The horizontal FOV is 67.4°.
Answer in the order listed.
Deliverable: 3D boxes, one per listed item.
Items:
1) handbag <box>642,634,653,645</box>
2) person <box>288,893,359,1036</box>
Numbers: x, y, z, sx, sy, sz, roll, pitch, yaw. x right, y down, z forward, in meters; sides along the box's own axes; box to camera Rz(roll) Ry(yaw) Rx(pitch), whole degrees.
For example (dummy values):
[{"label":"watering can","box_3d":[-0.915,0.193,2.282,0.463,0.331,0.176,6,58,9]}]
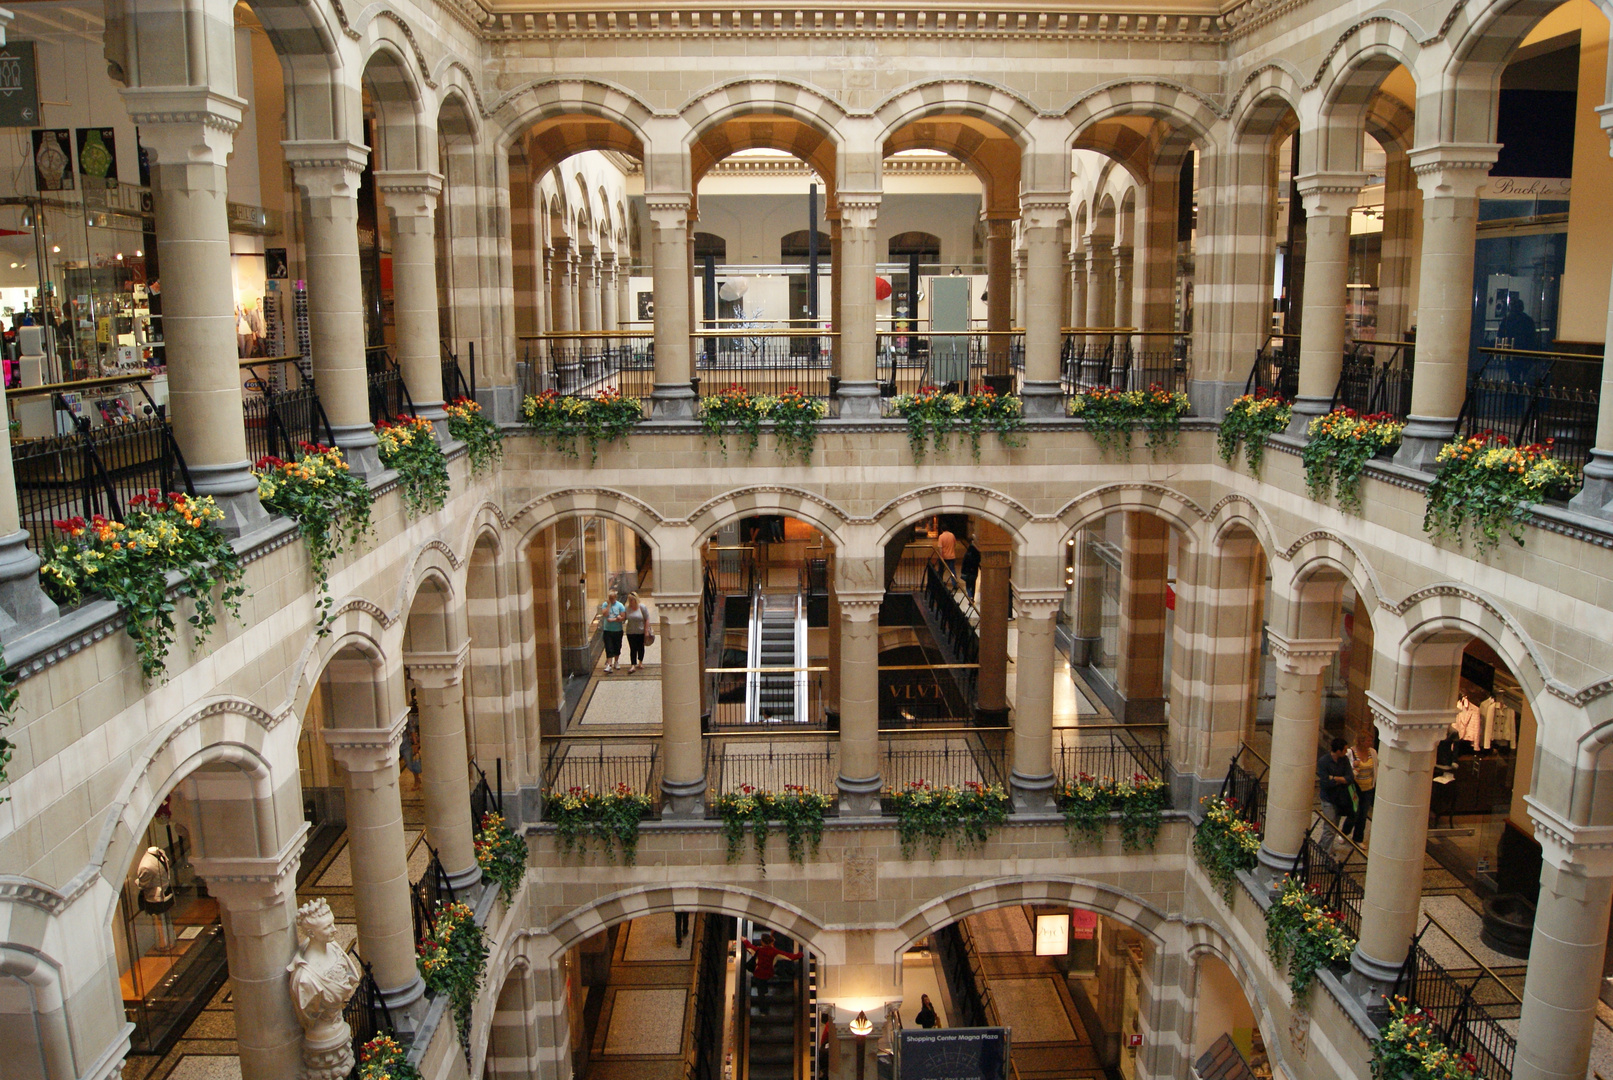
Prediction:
[{"label":"handbag","box_3d":[-3.772,2.334,28.607,0.337,0.367,0.213,-1,-84,-15]},{"label":"person","box_3d":[-4.775,4.127,11.974,0.602,0.907,1.005,-3,-58,3]}]
